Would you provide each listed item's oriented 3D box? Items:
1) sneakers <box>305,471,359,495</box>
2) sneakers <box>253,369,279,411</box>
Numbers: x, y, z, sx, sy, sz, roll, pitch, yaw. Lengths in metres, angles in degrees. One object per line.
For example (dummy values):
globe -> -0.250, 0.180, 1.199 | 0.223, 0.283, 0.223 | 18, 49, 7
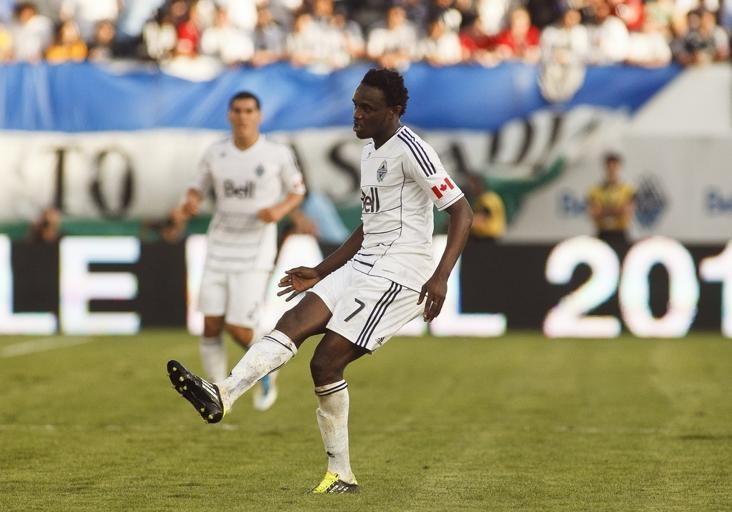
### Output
sneakers -> -0.304, 2.140, 13.174 | 0.519, 0.231, 0.178 | 3, -9, -9
sneakers -> -1.148, 1.520, 15.583 | 0.190, 0.245, 0.574 | 2, 47, 20
